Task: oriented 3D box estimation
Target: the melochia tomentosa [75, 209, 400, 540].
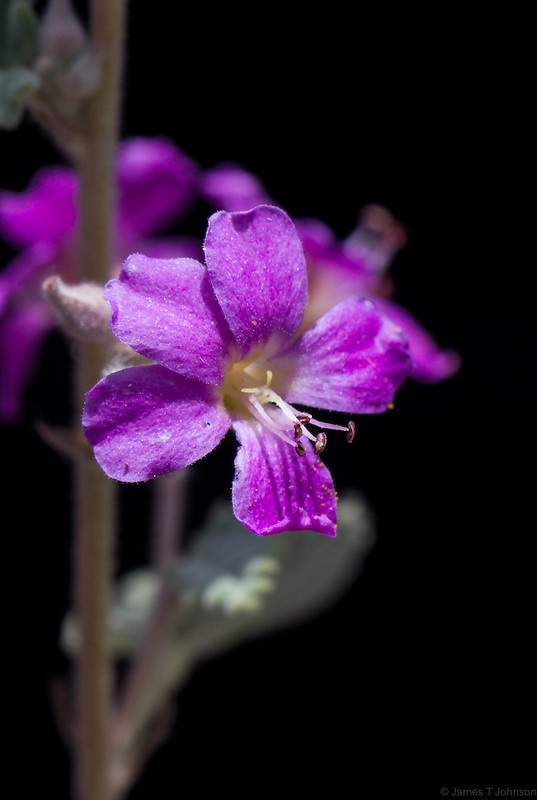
[{"bbox_3d":[-0.007,-0.018,0.613,0.132,0.221,0.243,21,27,38],"label":"melochia tomentosa"}]
